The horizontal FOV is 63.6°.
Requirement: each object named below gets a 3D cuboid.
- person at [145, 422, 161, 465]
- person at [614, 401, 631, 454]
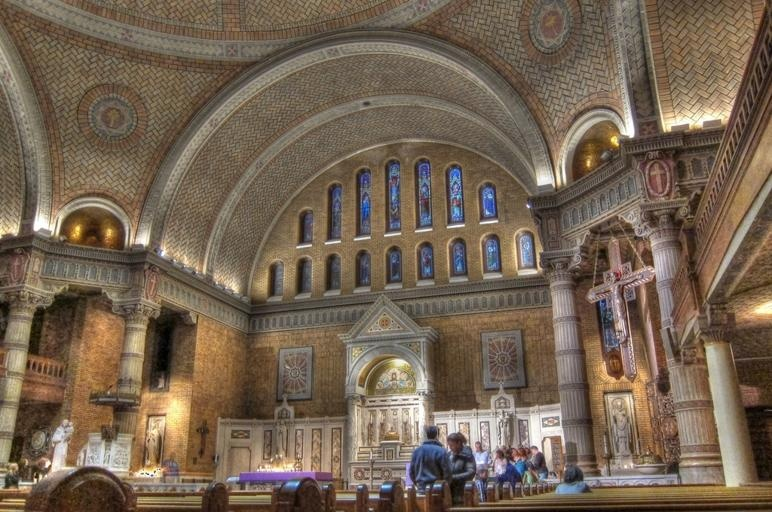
[{"bbox_3d":[-8.702,7.012,23.138,0.591,1.352,0.162,-11,-24,19],"label":"person"},{"bbox_3d":[7.768,5.579,20.471,0.513,1.783,0.168,-8,-23,12],"label":"person"}]
